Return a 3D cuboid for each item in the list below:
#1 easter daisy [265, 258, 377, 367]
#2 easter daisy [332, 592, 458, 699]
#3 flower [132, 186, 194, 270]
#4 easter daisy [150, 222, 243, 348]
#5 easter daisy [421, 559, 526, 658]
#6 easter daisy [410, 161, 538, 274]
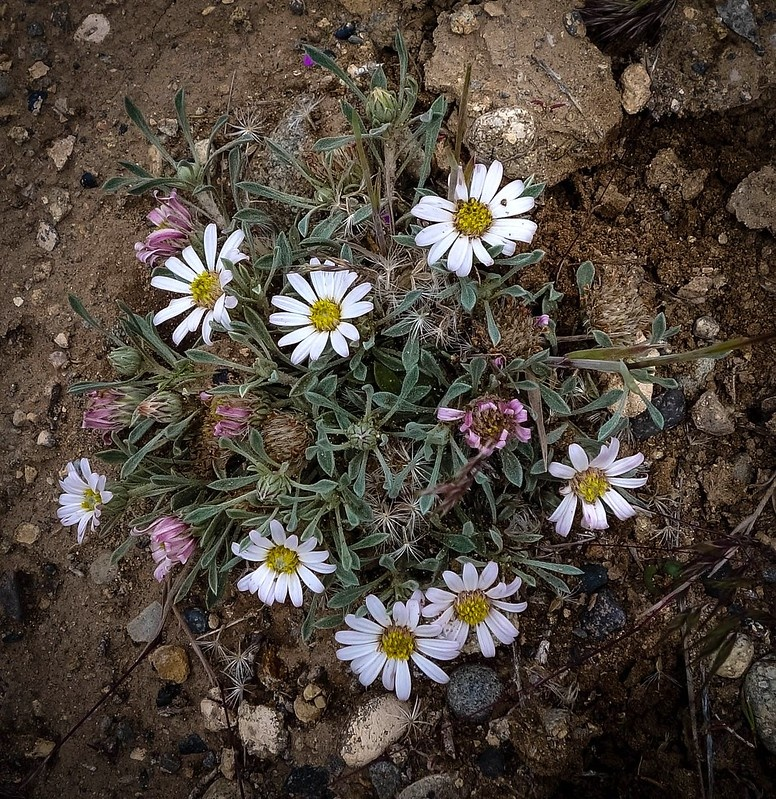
[{"bbox_3d":[-0.252,-0.291,2.925,0.425,0.746,0.375,-15,84,1],"label":"easter daisy"},{"bbox_3d":[0.045,0.927,2.773,0.432,0.497,0.123,-11,97,-30],"label":"easter daisy"},{"bbox_3d":[-0.942,-0.708,3.092,0.104,0.278,0.326,14,82,-25],"label":"flower"},{"bbox_3d":[-0.711,-0.445,2.805,0.419,0.152,0.463,36,100,32],"label":"easter daisy"},{"bbox_3d":[0.319,0.763,2.796,0.337,0.145,0.427,14,99,4],"label":"easter daisy"},{"bbox_3d":[0.328,-0.678,2.655,0.368,0.390,0.158,1,76,38],"label":"easter daisy"}]
